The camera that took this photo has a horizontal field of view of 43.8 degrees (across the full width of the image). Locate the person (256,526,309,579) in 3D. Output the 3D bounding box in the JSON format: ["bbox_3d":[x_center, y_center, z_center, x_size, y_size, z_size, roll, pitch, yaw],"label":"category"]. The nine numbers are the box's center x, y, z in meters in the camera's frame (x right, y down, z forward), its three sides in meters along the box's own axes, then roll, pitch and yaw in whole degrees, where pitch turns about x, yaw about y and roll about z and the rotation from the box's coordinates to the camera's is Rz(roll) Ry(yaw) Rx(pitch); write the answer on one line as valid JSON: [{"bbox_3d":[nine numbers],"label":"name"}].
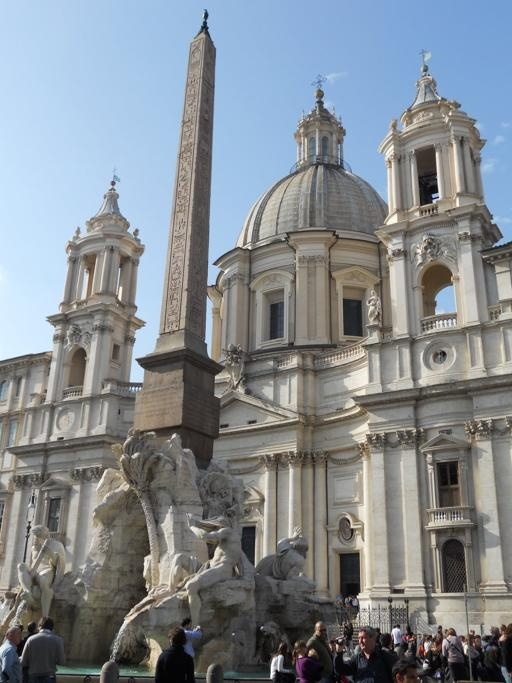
[{"bbox_3d":[0.599,4.827,14.381,1.045,1.058,1.255,-1,-23,4],"label":"person"}]
